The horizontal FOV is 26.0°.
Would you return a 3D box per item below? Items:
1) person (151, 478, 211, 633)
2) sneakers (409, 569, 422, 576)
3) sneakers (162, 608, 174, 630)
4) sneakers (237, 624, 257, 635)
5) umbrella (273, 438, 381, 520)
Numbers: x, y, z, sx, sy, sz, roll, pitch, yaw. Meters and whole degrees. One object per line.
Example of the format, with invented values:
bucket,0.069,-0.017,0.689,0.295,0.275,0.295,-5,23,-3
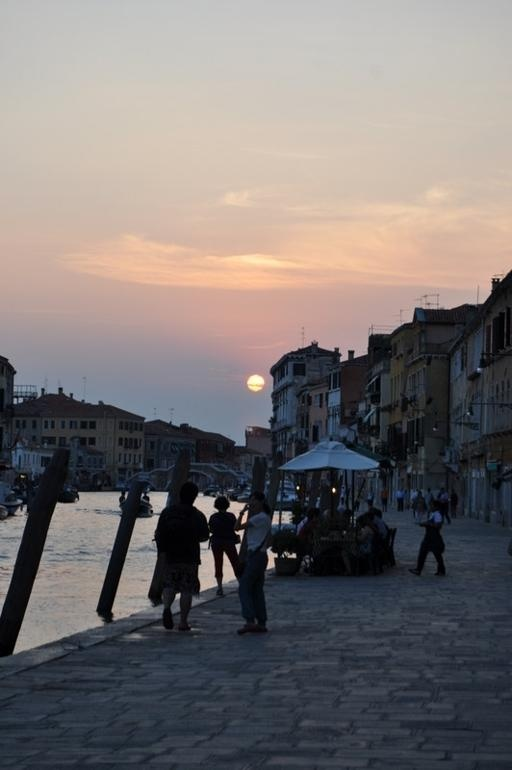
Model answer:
person,-0.782,1.725,11.221,0.529,1.465,0.733,4,-6,-3
sneakers,2.670,3.142,18.519,0.078,0.091,0.221,26,1,-19
sneakers,-0.869,2.313,10.904,0.092,0.223,0.099,-6,-3,-3
sneakers,-0.126,2.393,10.810,0.220,0.096,0.078,-10,-7,26
umbrella,1.439,1.504,21.626,2.179,0.783,1.746,0,1,-5
